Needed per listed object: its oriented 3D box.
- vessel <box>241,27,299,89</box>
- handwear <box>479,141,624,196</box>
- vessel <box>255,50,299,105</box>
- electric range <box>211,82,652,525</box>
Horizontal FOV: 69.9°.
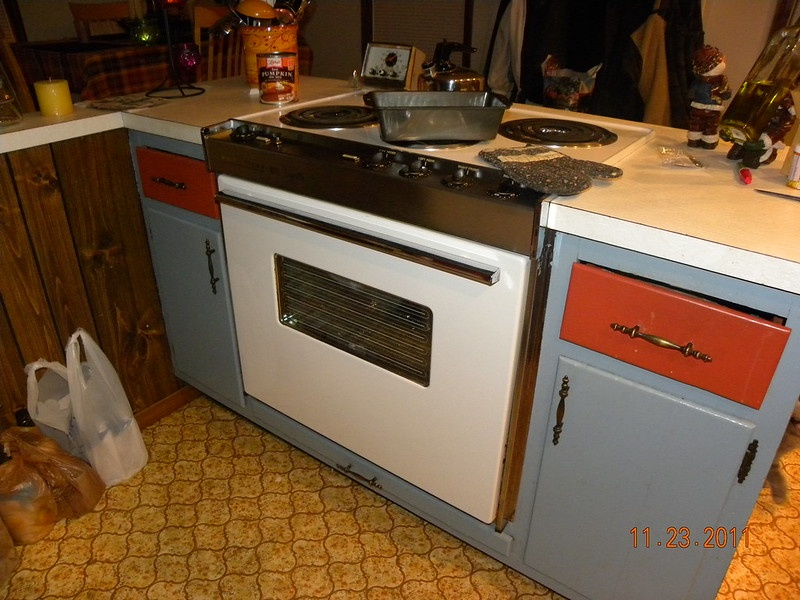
[{"bbox_3d":[-0.468,-0.852,2.014,0.216,0.175,0.189,4,29,7],"label":"vessel"},{"bbox_3d":[0.345,-0.317,1.370,0.222,0.028,0.201,-16,31,-36],"label":"handwear"},{"bbox_3d":[-0.409,-0.736,1.946,0.184,0.176,0.174,-2,12,-11],"label":"vessel"},{"bbox_3d":[-0.048,0.047,2.344,1.662,1.481,1.202,19,37,29],"label":"electric range"}]
